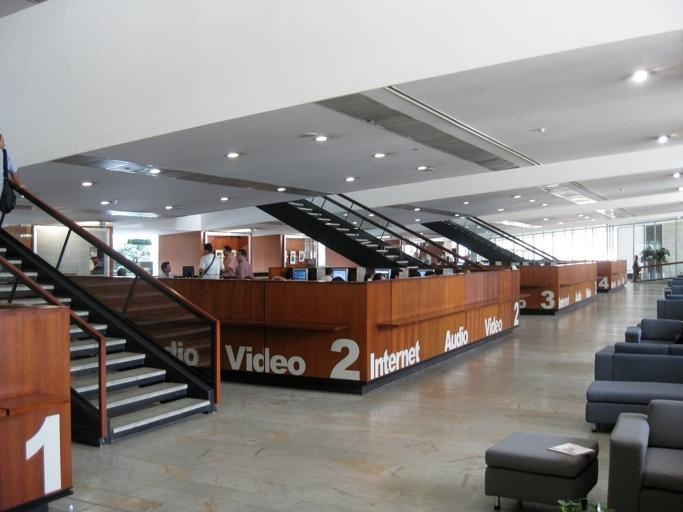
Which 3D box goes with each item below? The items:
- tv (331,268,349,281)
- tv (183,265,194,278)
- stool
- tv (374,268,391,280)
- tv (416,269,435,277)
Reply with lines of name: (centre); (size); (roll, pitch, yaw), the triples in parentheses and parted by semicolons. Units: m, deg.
tv: (-0.034, 0.423, 11.999); (0.547, 0.259, 0.494); (2, -8, 1)
tv: (-3.674, 0.367, 11.605); (0.277, 0.255, 0.197); (2, 2, 24)
stool: (1.667, 1.684, 3.992); (0.700, 0.423, 0.711); (0, 1, 24)
tv: (1.017, 0.431, 11.871); (0.308, 0.268, 0.406); (1, -2, 9)
tv: (2.049, 0.386, 11.695); (0.281, 0.278, 0.235); (-1, 2, 25)
